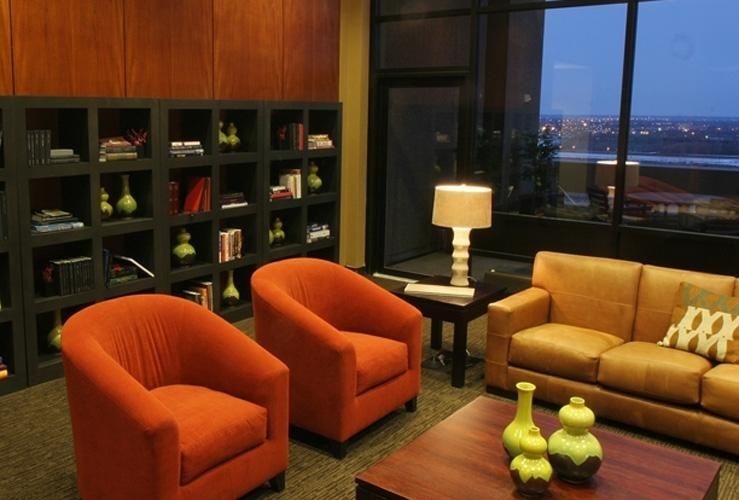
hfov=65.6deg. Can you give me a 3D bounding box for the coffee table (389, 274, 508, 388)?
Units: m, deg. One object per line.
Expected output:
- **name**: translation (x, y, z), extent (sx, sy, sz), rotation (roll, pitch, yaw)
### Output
- **coffee table**: translation (0.668, 0.561, 5.242), extent (0.916, 0.908, 0.927), rotation (10, 15, 39)

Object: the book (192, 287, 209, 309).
- **book**: translation (-1.582, 0.452, 5.356), extent (0.115, 0.201, 0.203), rotation (-9, 14, -40)

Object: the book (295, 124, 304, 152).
- **book**: translation (-0.793, -1.271, 6.397), extent (0.147, 0.270, 0.273), rotation (-1, 11, -6)

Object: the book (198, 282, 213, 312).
- **book**: translation (-1.572, 0.453, 5.500), extent (0.154, 0.256, 0.259), rotation (-9, 5, -23)

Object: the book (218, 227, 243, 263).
- **book**: translation (-1.434, -0.079, 6.026), extent (0.266, 0.393, 0.398), rotation (6, 8, 19)

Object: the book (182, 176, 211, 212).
- **book**: translation (-1.694, -0.542, 5.654), extent (0.311, 0.330, 0.084), rotation (-4, -9, 33)

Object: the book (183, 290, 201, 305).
- **book**: translation (-1.615, 0.431, 5.234), extent (0.153, 0.146, 0.084), rotation (-18, 9, 32)

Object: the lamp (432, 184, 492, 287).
- **lamp**: translation (0.862, -0.176, 5.325), extent (0.507, 0.855, 0.776), rotation (2, 14, 11)
